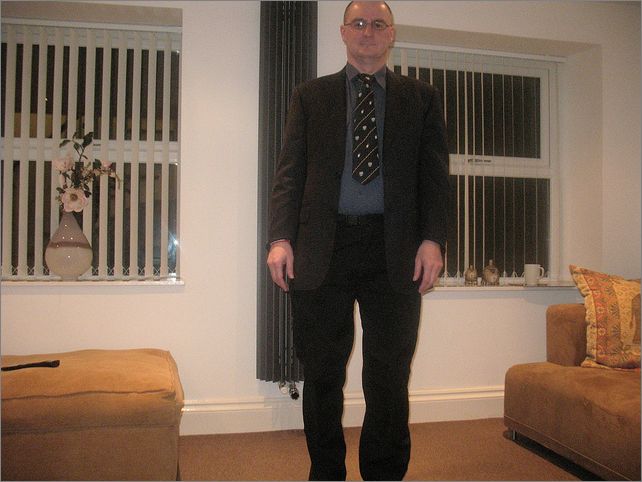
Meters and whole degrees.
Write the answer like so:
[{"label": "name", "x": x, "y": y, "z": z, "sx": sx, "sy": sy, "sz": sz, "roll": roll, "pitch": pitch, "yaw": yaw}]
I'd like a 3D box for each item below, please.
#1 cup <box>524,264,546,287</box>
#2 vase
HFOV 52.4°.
[{"label": "cup", "x": 1.547, "y": 0.233, "z": 4.672, "sx": 0.112, "sy": 0.194, "sz": 0.190, "roll": 0, "pitch": 6, "yaw": -15}, {"label": "vase", "x": -1.658, "y": 0.022, "z": 4.268, "sx": 0.283, "sy": 0.498, "sz": 0.320, "roll": -5, "pitch": -6, "yaw": 16}]
